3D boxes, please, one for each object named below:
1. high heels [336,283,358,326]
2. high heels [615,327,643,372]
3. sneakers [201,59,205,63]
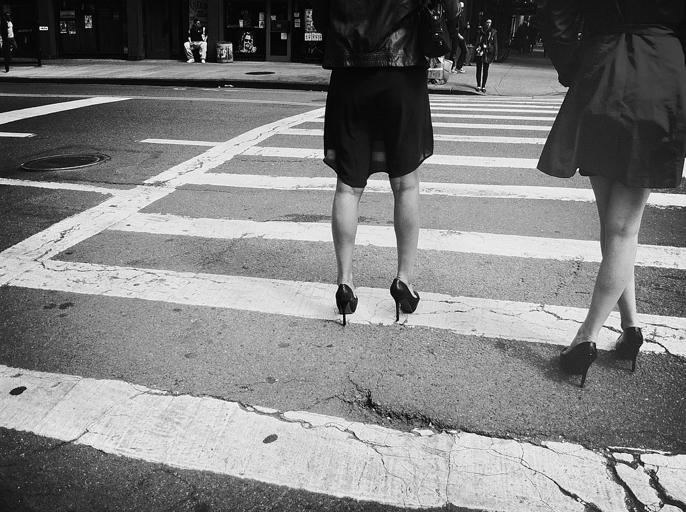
[{"bbox_3d":[0.039,0.319,3.880,0.099,0.186,0.348,-2,11,4],"label":"high heels"},{"bbox_3d":[1.802,0.570,3.412,0.096,0.180,0.351,-6,20,10],"label":"high heels"},{"bbox_3d":[-7.449,-10.384,28.777,0.198,0.151,0.220,4,-9,-7],"label":"sneakers"}]
